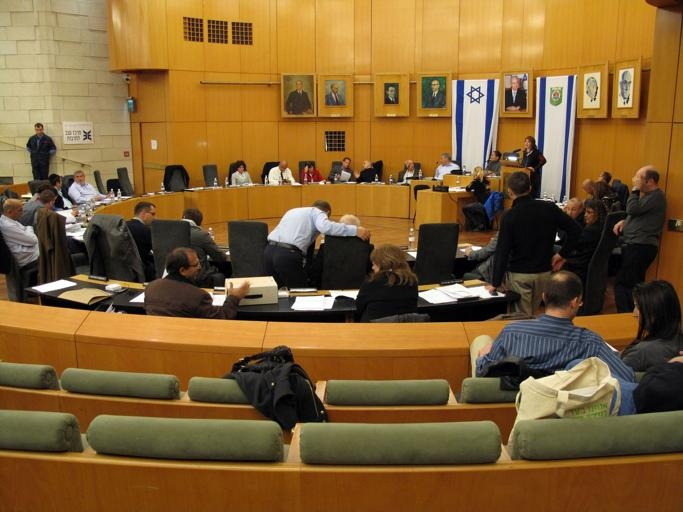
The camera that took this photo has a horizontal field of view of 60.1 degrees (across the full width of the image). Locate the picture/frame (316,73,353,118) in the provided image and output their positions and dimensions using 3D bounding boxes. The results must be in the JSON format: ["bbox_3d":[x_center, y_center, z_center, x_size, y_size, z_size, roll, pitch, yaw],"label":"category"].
[{"bbox_3d":[-0.200,-3.922,14.256,0.912,1.130,0.137,-1,10,-6],"label":"picture/frame"}]

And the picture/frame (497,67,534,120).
[{"bbox_3d":[3.707,-3.470,12.504,0.091,1.370,1.105,-5,8,-39],"label":"picture/frame"}]

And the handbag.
[{"bbox_3d":[1.120,0.762,2.969,0.463,0.490,0.254,4,2,-1],"label":"handbag"}]

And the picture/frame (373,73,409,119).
[{"bbox_3d":[1.191,-3.852,14.076,0.957,1.190,0.117,0,7,4],"label":"picture/frame"}]
